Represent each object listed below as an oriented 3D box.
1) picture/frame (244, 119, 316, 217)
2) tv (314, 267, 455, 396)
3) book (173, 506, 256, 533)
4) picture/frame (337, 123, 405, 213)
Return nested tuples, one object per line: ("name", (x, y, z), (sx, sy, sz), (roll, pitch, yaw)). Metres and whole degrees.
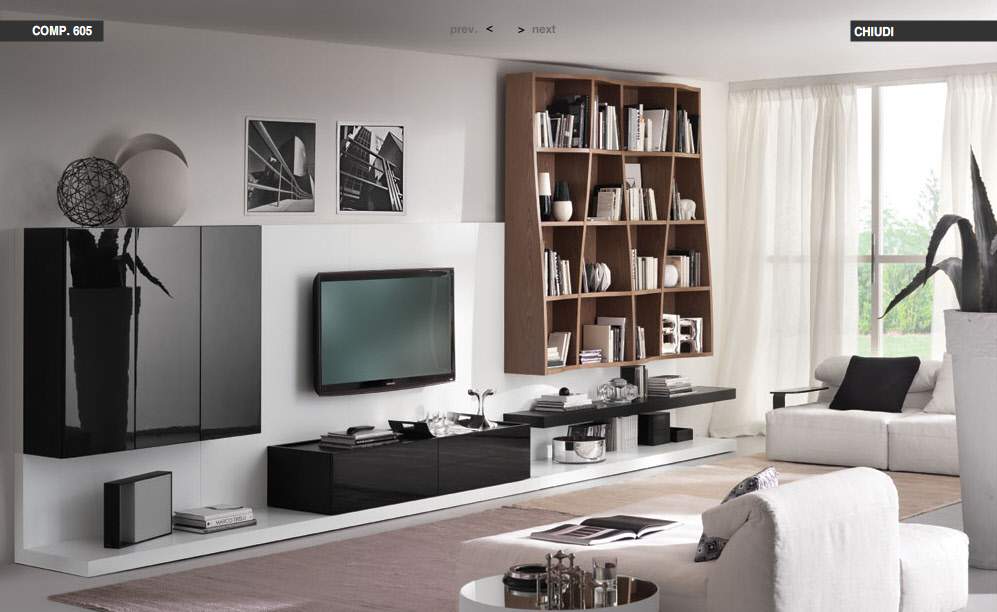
("picture/frame", (-1.862, -1.157, 6.205), (0.069, 0.899, 0.907), (6, 7, 40))
("tv", (-1.077, 0.222, 6.624), (1.330, 0.887, 0.140), (-2, 1, -41))
("book", (-2.109, 1.592, 5.564), (0.313, 0.082, 0.256), (1, -2, -43))
("picture/frame", (-1.183, -1.243, 6.682), (0.936, 0.977, 0.047), (-2, 5, -41))
